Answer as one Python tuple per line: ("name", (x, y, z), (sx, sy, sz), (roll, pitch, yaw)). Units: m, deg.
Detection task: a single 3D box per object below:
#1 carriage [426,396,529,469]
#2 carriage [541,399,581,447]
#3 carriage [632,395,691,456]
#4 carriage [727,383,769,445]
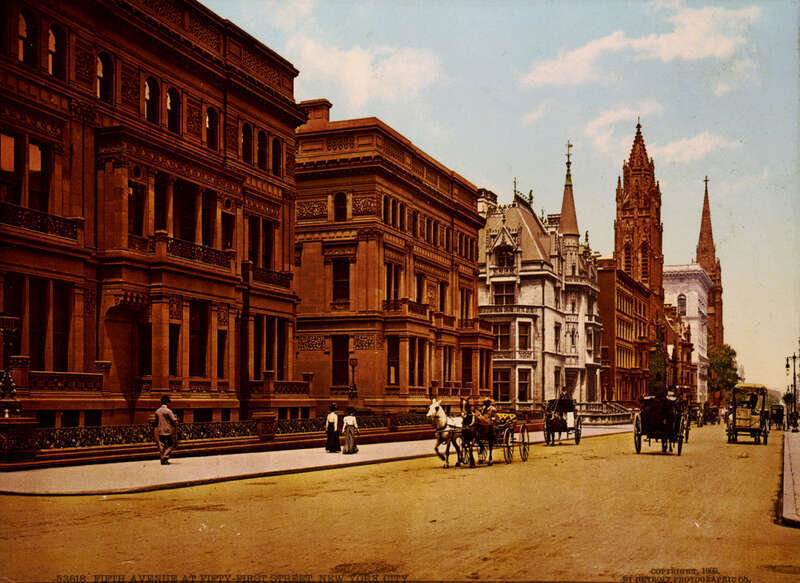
("carriage", (2.519, 5.442, 38.662), (3.116, 3.359, 3.273), (-9, -6, 42))
("carriage", (7.329, 6.163, 48.215), (2.267, 2.377, 3.283), (-1, -1, 17))
("carriage", (11.083, 5.498, 42.657), (1.495, 2.635, 4.214), (-3, -6, 29))
("carriage", (18.485, 6.504, 53.565), (2.757, 3.886, 7.128), (-1, -7, 22))
